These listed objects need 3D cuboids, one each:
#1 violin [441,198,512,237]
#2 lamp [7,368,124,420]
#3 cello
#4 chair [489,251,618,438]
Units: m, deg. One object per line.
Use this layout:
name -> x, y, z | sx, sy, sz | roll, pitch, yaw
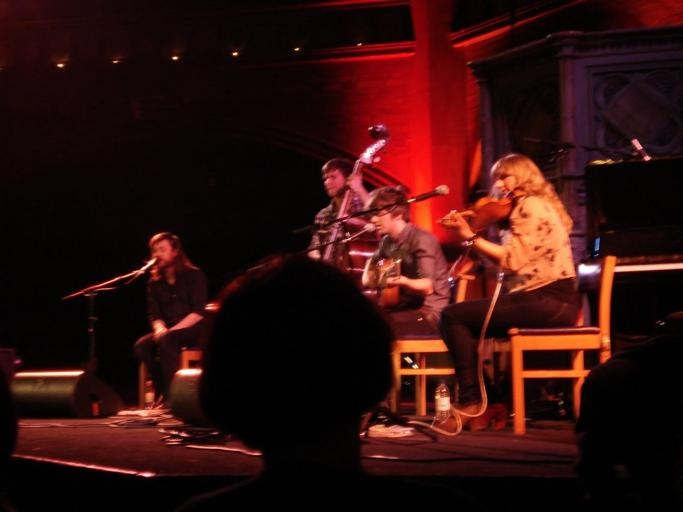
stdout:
violin -> 0.725, -0.206, 3.471 | 0.276, 0.193, 0.290 | -2, 3, -30
lamp -> -1.759, 0.761, 3.962 | 0.419, 0.169, 0.299 | -1, 21, 14
cello -> 0.035, -0.423, 4.303 | 0.369, 0.936, 0.407 | -3, 7, -45
chair -> 1.124, 0.401, 3.392 | 0.583, 0.907, 0.607 | 5, 3, 11
